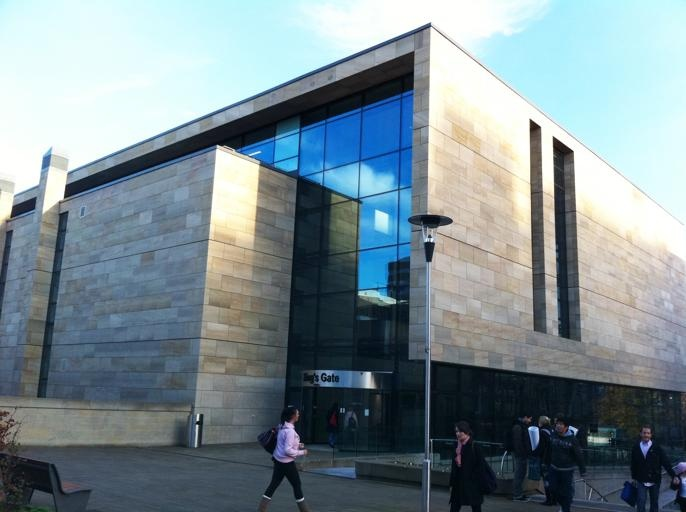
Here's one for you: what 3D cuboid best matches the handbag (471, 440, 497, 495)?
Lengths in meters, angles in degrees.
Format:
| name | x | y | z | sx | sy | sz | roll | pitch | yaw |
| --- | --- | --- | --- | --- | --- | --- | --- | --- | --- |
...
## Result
| name | x | y | z | sx | sy | sz | roll | pitch | yaw |
| --- | --- | --- | --- | --- | --- | --- | --- | --- | --- |
| handbag | 2.976 | 4.458 | 12.405 | 0.386 | 1.013 | 0.519 | -2 | -20 | 11 |

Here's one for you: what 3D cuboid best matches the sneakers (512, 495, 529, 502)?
| name | x | y | z | sx | sy | sz | roll | pitch | yaw |
| --- | --- | --- | --- | --- | --- | --- | --- | --- | --- |
| sneakers | 4.917 | 6.728 | 16.430 | 0.432 | 0.130 | 0.138 | 1 | -14 | -1 |

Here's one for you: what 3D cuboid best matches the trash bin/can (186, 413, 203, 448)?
| name | x | y | z | sx | sy | sz | roll | pitch | yaw |
| --- | --- | --- | --- | --- | --- | --- | --- | --- | --- |
| trash bin/can | -5.979 | 7.079 | 24.098 | 0.580 | 1.334 | 0.647 | 6 | -20 | -12 |
